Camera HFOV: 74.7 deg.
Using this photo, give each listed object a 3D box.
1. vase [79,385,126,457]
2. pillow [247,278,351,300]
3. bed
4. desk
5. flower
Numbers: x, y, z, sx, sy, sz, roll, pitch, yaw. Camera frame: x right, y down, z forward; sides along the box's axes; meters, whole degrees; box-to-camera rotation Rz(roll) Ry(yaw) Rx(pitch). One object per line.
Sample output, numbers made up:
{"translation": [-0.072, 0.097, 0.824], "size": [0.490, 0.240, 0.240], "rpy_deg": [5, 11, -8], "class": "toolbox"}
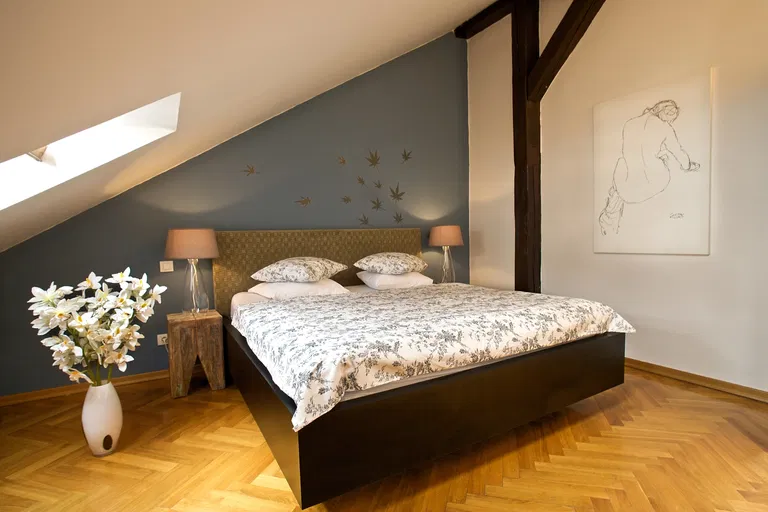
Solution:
{"translation": [-2.064, 1.190, 3.706], "size": [0.244, 0.519, 0.123], "rpy_deg": [-5, 4, -33], "class": "vase"}
{"translation": [-0.785, 0.315, 4.822], "size": [0.541, 0.116, 0.365], "rpy_deg": [-1, 3, -32], "class": "pillow"}
{"translation": [0.154, 0.566, 4.592], "size": [2.860, 1.791, 2.450], "rpy_deg": [-4, 3, -27], "class": "bed"}
{"translation": [-1.667, 0.887, 4.814], "size": [0.633, 0.930, 0.633], "rpy_deg": [-2, 0, -31], "class": "desk"}
{"translation": [-2.155, 0.532, 3.937], "size": [0.781, 0.882, 1.049], "rpy_deg": [-4, 3, -26], "class": "flower"}
